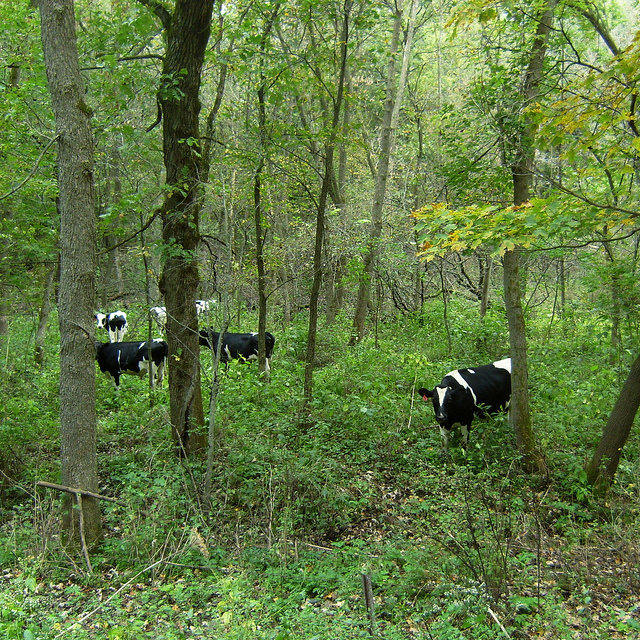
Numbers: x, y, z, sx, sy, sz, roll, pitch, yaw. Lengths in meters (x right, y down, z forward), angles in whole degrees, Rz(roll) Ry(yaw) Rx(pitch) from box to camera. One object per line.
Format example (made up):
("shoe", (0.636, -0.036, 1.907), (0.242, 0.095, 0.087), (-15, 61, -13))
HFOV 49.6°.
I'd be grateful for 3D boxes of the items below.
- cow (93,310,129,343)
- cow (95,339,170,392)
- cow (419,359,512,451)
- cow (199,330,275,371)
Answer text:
("cow", (-5.624, 0.197, 18.569), (0.726, 1.098, 2.063), (0, 5, -23))
("cow", (-4.131, 0.999, 14.529), (1.889, 1.030, 0.516), (0, -1, 1))
("cow", (2.535, 1.492, 11.797), (0.730, 1.376, 2.693), (5, 9, 38))
("cow", (-1.962, 0.783, 15.984), (2.065, 1.118, 0.661), (0, 10, 25))
